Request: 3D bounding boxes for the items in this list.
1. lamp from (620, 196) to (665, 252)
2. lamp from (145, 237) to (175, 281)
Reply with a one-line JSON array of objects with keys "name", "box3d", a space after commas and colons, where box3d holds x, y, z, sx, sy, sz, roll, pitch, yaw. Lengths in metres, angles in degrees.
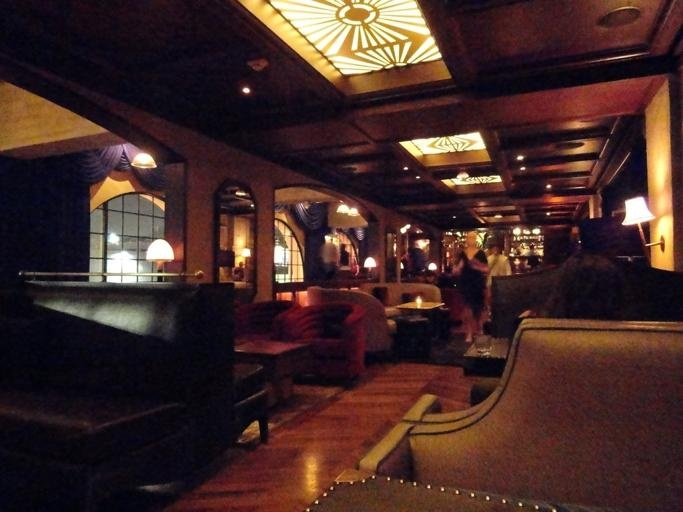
[{"name": "lamp", "box3d": [3.525, -0.367, 6.453, 0.400, 0.632, 1.663, 6, 8, 27]}, {"name": "lamp", "box3d": [-2.055, 0.062, 6.250, 0.266, 0.502, 0.282, 5, 11, 7]}]
